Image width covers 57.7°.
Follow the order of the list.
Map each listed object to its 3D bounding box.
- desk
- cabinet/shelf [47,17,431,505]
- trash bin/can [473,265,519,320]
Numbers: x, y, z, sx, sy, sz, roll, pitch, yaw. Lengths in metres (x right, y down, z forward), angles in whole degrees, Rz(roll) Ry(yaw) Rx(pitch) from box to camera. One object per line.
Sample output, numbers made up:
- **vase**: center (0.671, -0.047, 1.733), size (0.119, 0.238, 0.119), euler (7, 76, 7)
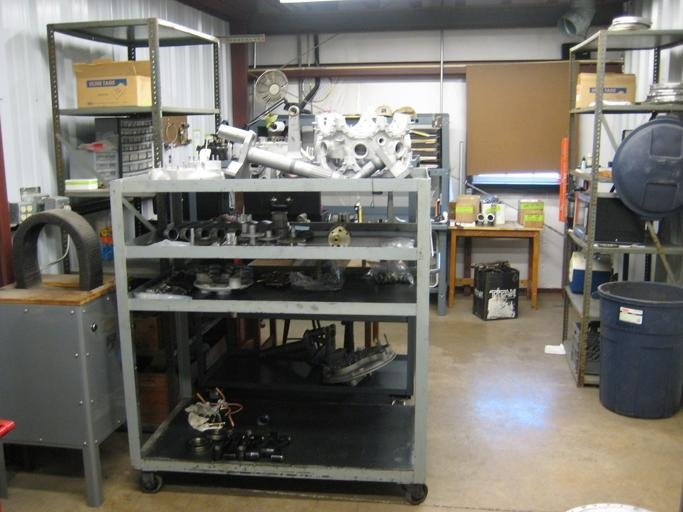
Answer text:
- **desk**: center (1.728, 0.095, 7.031), size (1.047, 0.908, 1.082), euler (1, 3, 8)
- **cabinet/shelf**: center (-0.562, -0.066, 4.008), size (2.431, 2.866, 1.293), euler (5, 9, 9)
- **trash bin/can**: center (1.594, 0.326, 6.599), size (0.493, 0.735, 0.520), euler (-2, 9, -5)
